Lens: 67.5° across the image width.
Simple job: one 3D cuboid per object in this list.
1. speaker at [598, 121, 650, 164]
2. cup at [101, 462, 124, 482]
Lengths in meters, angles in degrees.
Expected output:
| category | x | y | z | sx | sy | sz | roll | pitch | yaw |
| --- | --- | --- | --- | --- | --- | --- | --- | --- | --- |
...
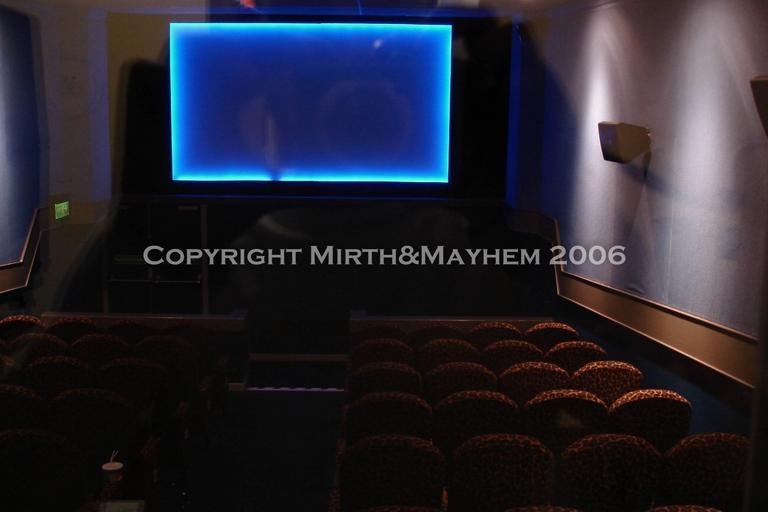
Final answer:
| category | x | y | z | sx | sy | sz | roll | pitch | yaw |
| --- | --- | --- | --- | --- | --- | --- | --- | --- | --- |
| speaker | 2.432 | -1.156 | 5.724 | 0.429 | 0.435 | 0.330 | -15 | 19 | -16 |
| cup | -1.772 | 1.394 | 3.732 | 0.138 | 0.104 | 0.136 | 2 | 9 | 0 |
